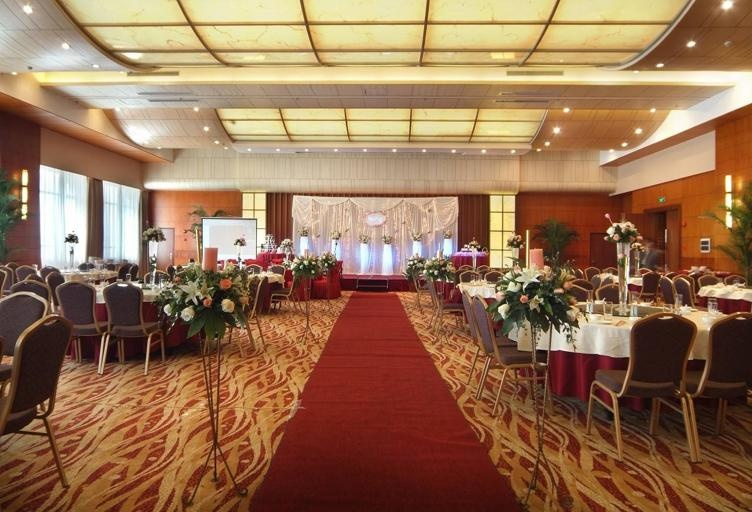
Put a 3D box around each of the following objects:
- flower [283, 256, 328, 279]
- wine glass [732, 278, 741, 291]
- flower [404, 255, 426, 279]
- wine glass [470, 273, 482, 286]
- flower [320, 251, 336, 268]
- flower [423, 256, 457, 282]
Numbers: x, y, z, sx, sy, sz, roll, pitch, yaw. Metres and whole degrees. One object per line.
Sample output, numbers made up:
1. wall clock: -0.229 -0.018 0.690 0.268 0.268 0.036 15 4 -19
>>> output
1. flower: -1.270 0.208 8.633 0.569 0.360 0.514 2 1 -8
2. wine glass: 6.650 0.535 8.674 0.136 0.250 0.135 4 19 17
3. flower: 0.904 0.270 11.011 0.537 0.438 0.519 2 5 21
4. wine glass: 1.804 0.426 8.403 0.209 0.228 0.208 1 -1 27
5. flower: -0.982 0.088 9.703 0.320 0.319 0.309 1 -3 -5
6. flower: 1.229 0.263 9.328 0.512 0.336 0.503 1 1 -3
